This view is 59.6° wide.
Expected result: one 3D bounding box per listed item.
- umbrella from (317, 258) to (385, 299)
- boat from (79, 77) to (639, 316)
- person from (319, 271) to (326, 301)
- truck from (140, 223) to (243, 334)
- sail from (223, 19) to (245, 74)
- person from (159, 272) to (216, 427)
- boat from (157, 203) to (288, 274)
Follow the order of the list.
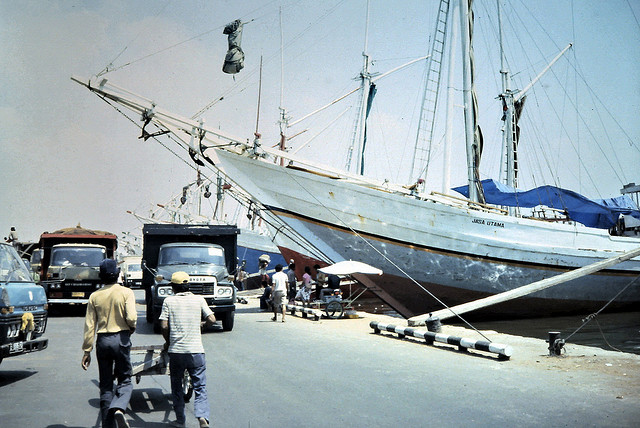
[{"bbox_3d":[1.124,2.355,21.898,1.603,1.055,1.659,5,2,36],"label":"umbrella"},{"bbox_3d":[4.654,0.765,25.712,20.789,8.112,4.431,1,-9,-16],"label":"boat"},{"bbox_3d":[0.052,2.944,23.536,0.314,0.824,0.624,8,0,-6],"label":"person"},{"bbox_3d":[-4.467,1.697,19.135,2.451,2.728,4.857,1,-6,-12],"label":"truck"},{"bbox_3d":[-3.250,-6.089,20.827,0.730,2.767,2.579,0,-8,-9],"label":"sail"},{"bbox_3d":[-2.328,2.341,9.694,0.932,2.667,0.519,-3,-9,9],"label":"person"},{"bbox_3d":[-4.869,2.483,41.929,7.277,5.976,11.524,2,-5,-15],"label":"boat"}]
